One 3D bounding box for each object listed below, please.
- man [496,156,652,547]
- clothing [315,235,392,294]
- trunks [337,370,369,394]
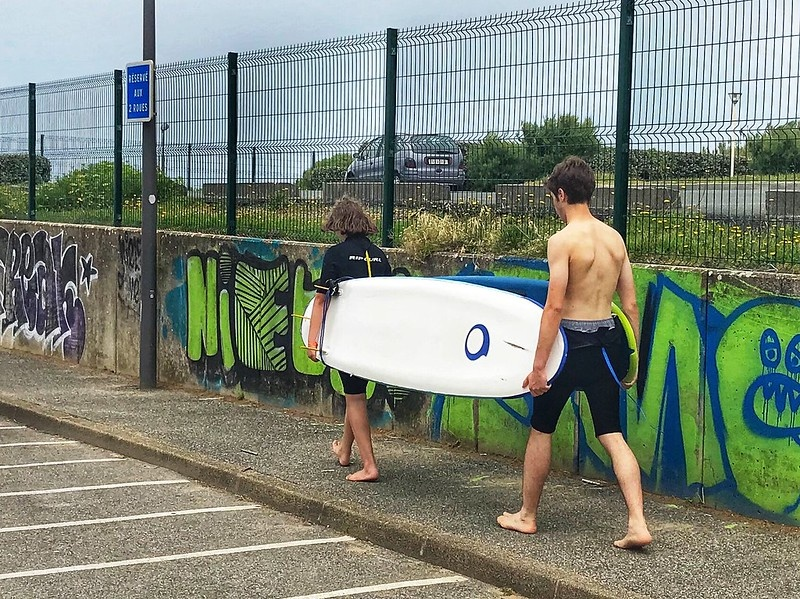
[{"bbox_3d":[1.270,0.369,7.299,0.915,2.709,0.613,0,7,7],"label":"man"},{"bbox_3d":[-0.356,-0.268,8.742,0.654,0.675,0.350,-1,9,-29],"label":"clothing"},{"bbox_3d":[-0.384,0.697,8.623,0.161,0.227,0.188,-5,-1,-38],"label":"trunks"}]
